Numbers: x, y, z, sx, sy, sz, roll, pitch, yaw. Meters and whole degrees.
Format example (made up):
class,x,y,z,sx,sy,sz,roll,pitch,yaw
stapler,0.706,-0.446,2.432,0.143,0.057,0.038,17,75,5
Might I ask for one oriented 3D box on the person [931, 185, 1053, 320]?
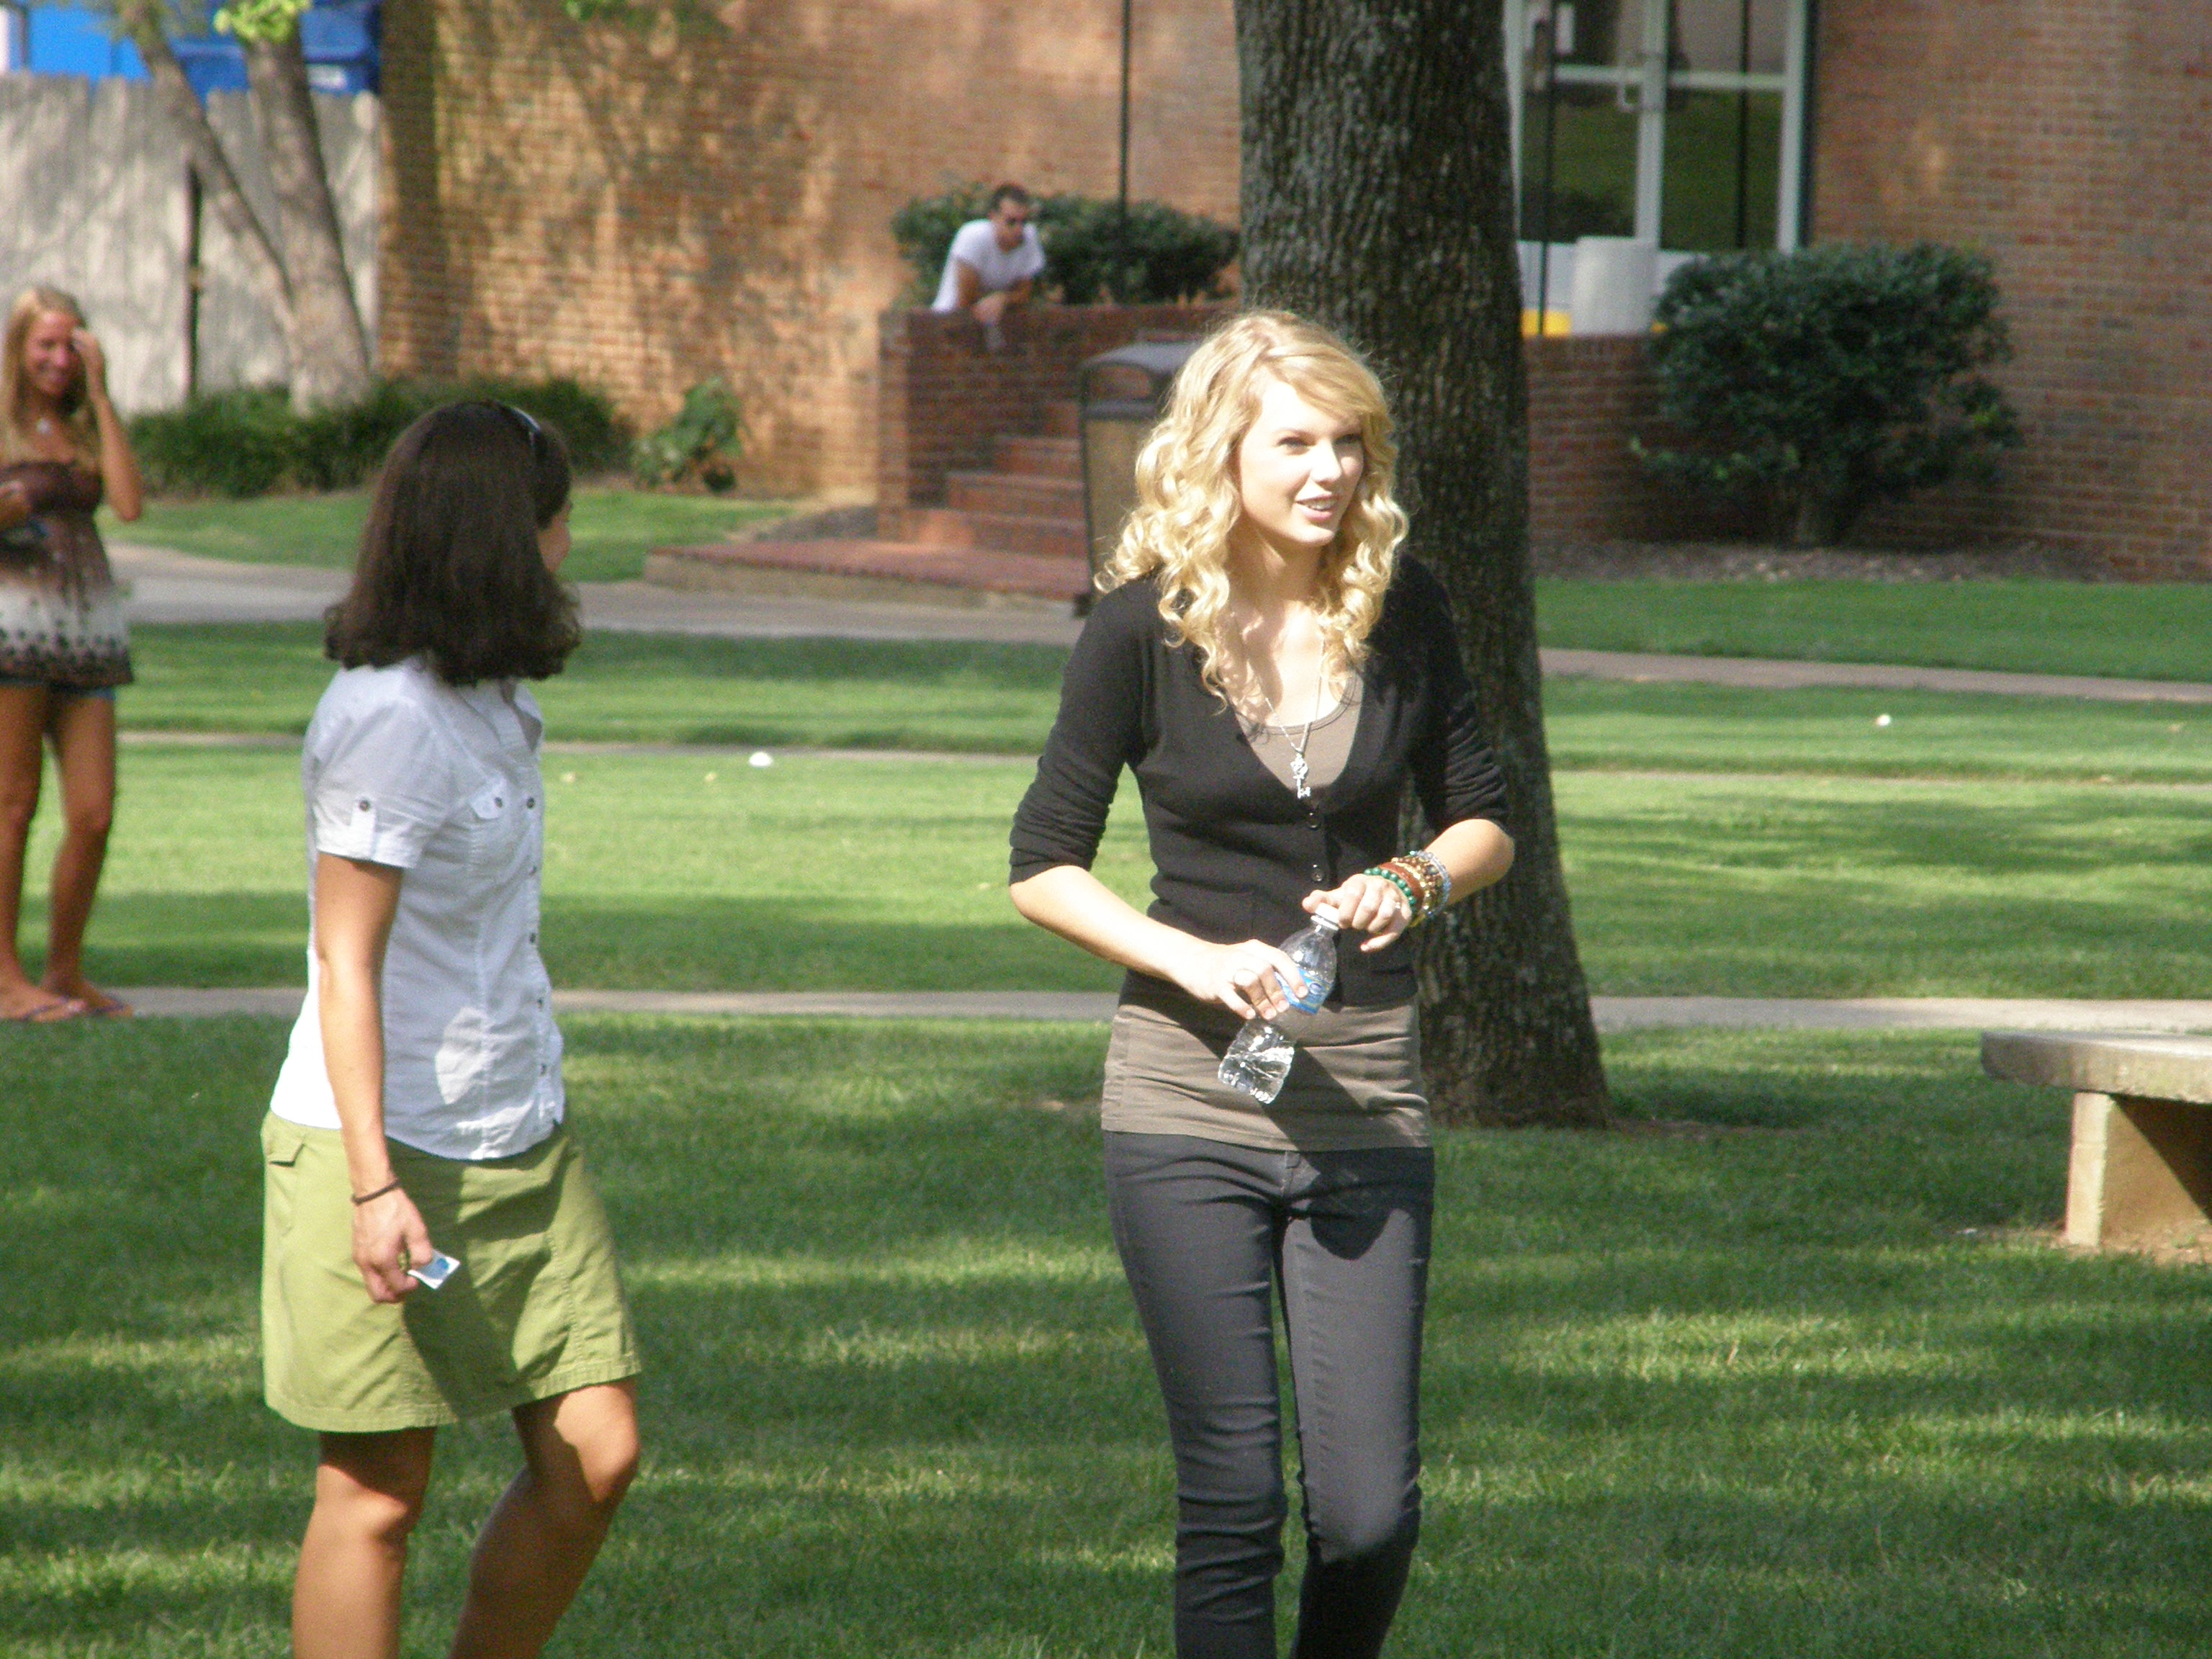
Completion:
class,x,y,z,sx,sy,sz,roll,pitch,yaw
person,-0.907,-4.350,39.189,0.780,1.094,0.864,1,11,-3

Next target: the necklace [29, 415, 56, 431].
class,x,y,z,sx,sy,sz,roll,pitch,yaw
necklace,-4.457,-1.751,22.170,0.085,0.029,0.083,3,11,9

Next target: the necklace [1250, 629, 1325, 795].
class,x,y,z,sx,sy,sz,roll,pitch,yaw
necklace,0.568,-0.378,17.036,0.382,0.520,0.146,0,-4,4

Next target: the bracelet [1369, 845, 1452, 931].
class,x,y,z,sx,sy,sz,roll,pitch,yaw
bracelet,0.982,0.169,17.131,0.145,0.227,0.281,-18,1,-2
